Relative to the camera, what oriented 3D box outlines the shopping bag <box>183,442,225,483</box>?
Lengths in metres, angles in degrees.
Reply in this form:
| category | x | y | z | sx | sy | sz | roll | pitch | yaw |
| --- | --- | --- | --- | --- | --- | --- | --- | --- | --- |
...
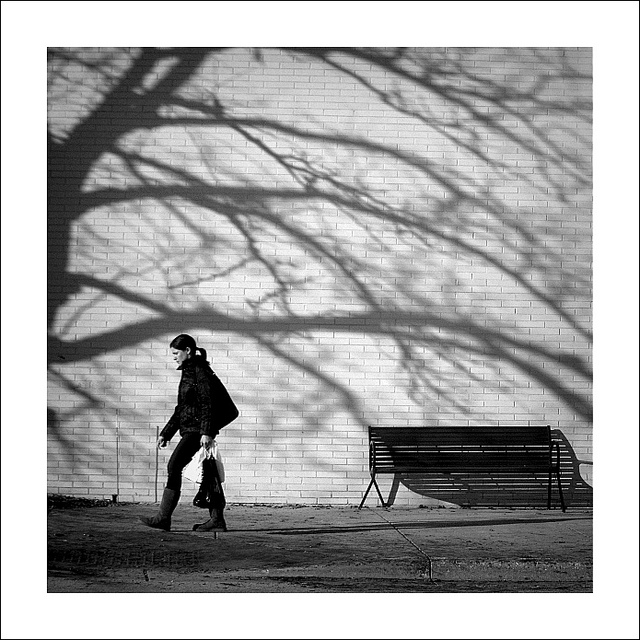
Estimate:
| category | x | y | z | sx | sy | sz | roll | pitch | yaw |
| --- | --- | --- | --- | --- | --- | --- | --- | --- | --- |
| shopping bag | -1.069 | 1.319 | 11.312 | 0.380 | 0.384 | 0.193 | -7 | 16 | -36 |

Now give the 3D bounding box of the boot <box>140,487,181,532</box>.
| category | x | y | z | sx | sy | sz | roll | pitch | yaw |
| --- | --- | --- | --- | --- | --- | --- | --- | --- | --- |
| boot | -1.505 | 1.764 | 11.404 | 0.333 | 0.477 | 0.221 | 0 | 14 | -10 |

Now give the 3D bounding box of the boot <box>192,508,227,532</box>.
| category | x | y | z | sx | sy | sz | roll | pitch | yaw |
| --- | --- | --- | --- | --- | --- | --- | --- | --- | --- |
| boot | -1.005 | 1.892 | 11.534 | 0.388 | 0.259 | 0.170 | 5 | -5 | 1 |

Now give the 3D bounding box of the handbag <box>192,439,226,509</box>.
| category | x | y | z | sx | sy | sz | roll | pitch | yaw |
| --- | --- | --- | --- | --- | --- | --- | --- | --- | --- |
| handbag | -1.030 | 1.436 | 11.295 | 0.304 | 0.689 | 0.107 | -2 | 15 | -18 |

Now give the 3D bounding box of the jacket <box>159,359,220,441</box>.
| category | x | y | z | sx | sy | sz | roll | pitch | yaw |
| --- | --- | --- | --- | --- | --- | --- | --- | --- | --- |
| jacket | -1.217 | 0.784 | 11.377 | 0.238 | 0.799 | 0.587 | -9 | 17 | -39 |

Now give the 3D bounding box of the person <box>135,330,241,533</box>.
| category | x | y | z | sx | sy | sz | roll | pitch | yaw |
| --- | --- | --- | --- | --- | --- | --- | --- | --- | --- |
| person | -1.265 | 1.089 | 11.758 | 0.891 | 1.946 | 1.279 | 1 | 13 | -8 |
